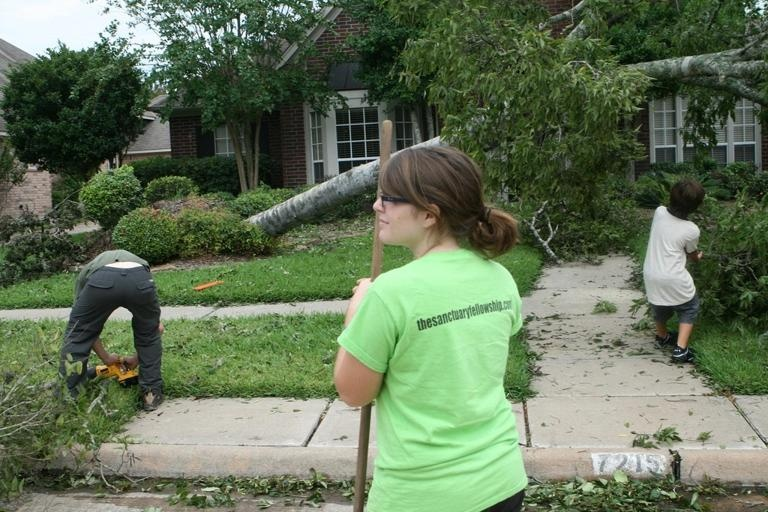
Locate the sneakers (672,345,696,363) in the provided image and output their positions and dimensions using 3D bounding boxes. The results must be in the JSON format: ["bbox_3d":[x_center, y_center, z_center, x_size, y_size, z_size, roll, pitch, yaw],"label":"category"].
[{"bbox_3d":[3.423,1.137,9.424,0.325,0.139,0.129,-2,6,-29],"label":"sneakers"}]

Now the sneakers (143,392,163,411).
[{"bbox_3d":[-2.507,1.562,8.845,0.116,0.098,0.240,0,8,-1],"label":"sneakers"}]

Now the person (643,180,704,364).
[{"bbox_3d":[3.393,0.150,9.614,0.616,2.105,0.553,1,5,36],"label":"person"}]

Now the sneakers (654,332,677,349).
[{"bbox_3d":[3.447,0.999,9.998,0.321,0.138,0.119,-23,23,-27],"label":"sneakers"}]
